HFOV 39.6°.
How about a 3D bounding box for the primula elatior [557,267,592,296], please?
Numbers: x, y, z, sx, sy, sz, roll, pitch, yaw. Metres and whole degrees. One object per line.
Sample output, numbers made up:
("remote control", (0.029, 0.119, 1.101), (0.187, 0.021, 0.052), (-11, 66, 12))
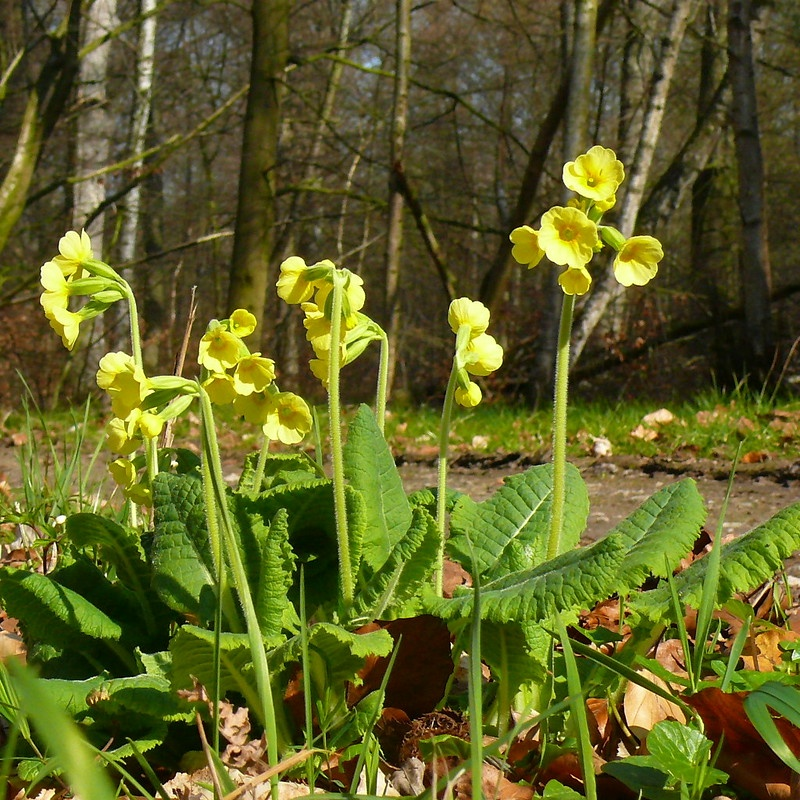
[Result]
("primula elatior", (0.363, -0.242, 2.306), (0.070, 0.063, 0.071), (-9, -4, 3))

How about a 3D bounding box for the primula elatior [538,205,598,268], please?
("primula elatior", (0.351, -0.332, 2.264), (0.137, 0.132, 0.086), (-1, -3, -10))

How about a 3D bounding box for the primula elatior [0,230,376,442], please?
("primula elatior", (-0.406, -0.103, 2.524), (0.637, 0.378, 0.601), (-1, -3, 22))

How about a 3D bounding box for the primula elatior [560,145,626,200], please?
("primula elatior", (0.408, -0.479, 2.333), (0.118, 0.138, 0.137), (-2, -3, 11))

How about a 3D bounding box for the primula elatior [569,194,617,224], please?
("primula elatior", (0.406, -0.419, 2.343), (0.092, 0.078, 0.079), (6, -2, 13))
